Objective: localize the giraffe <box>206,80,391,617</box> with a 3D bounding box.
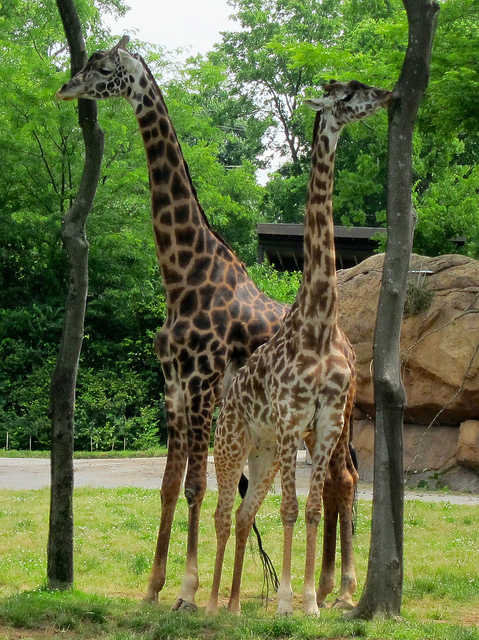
[{"bbox_3d":[0.474,0.131,10.396,0.920,5.065,1.679,6,-9,-26],"label":"giraffe"}]
